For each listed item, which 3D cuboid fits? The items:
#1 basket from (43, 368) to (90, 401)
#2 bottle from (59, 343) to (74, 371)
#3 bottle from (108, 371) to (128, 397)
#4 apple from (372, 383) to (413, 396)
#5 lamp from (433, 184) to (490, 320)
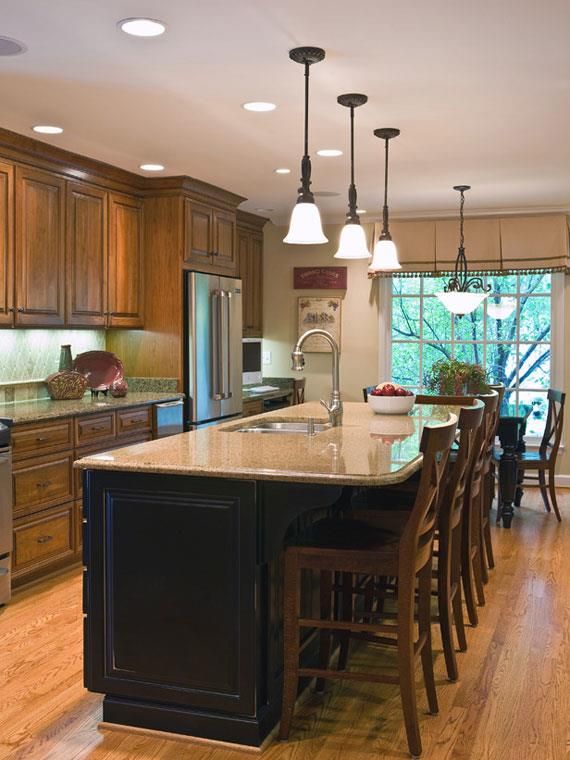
[{"bbox_3d":[-1.387,0.039,4.035,0.258,0.196,0.135,1,-2,-32],"label":"basket"},{"bbox_3d":[-1.472,-0.150,4.283,0.086,0.194,0.210,0,-2,-20],"label":"bottle"},{"bbox_3d":[-1.164,0.026,4.301,0.163,0.214,0.159,0,-3,0],"label":"bottle"},{"bbox_3d":[0.542,0.057,3.190,0.102,0.039,0.107,1,-4,41],"label":"apple"},{"bbox_3d":[1.500,-1.010,5.333,0.420,1.070,1.631,-1,-2,17],"label":"lamp"}]
